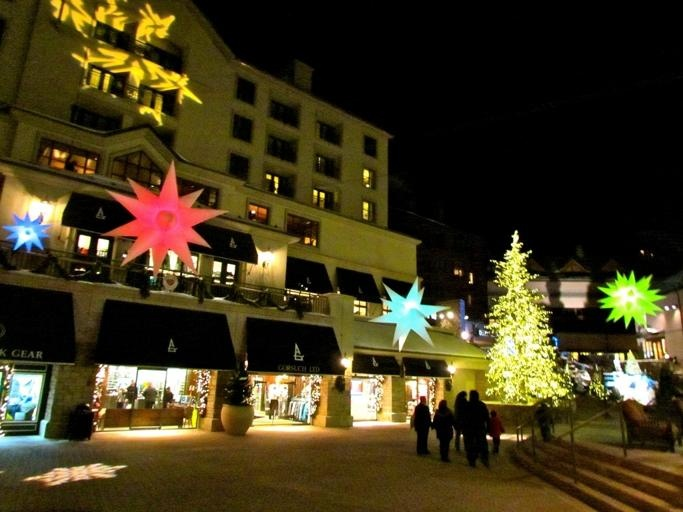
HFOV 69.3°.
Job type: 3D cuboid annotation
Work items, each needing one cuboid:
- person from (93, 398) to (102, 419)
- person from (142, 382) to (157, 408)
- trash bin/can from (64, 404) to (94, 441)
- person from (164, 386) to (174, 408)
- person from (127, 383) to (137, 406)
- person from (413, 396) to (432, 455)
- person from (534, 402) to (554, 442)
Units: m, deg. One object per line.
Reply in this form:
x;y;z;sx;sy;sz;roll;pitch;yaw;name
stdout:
-11.102;6.920;22.477;0.245;0.852;0.792;7;-18;-19;person
-9.754;7.124;25.325;0.654;1.188;0.354;7;-18;-20;person
-10.891;6.935;20.533;0.990;1.757;0.962;12;-22;-36;trash bin/can
-9.008;7.376;25.901;0.233;0.974;0.630;-5;-18;20;person
-10.577;7.043;25.134;0.241;0.911;0.671;3;-3;38;person
3.395;6.993;20.478;0.738;2.254;1.503;-2;-17;9;person
8.606;7.015;20.565;0.664;2.075;0.498;-7;-61;27;person
